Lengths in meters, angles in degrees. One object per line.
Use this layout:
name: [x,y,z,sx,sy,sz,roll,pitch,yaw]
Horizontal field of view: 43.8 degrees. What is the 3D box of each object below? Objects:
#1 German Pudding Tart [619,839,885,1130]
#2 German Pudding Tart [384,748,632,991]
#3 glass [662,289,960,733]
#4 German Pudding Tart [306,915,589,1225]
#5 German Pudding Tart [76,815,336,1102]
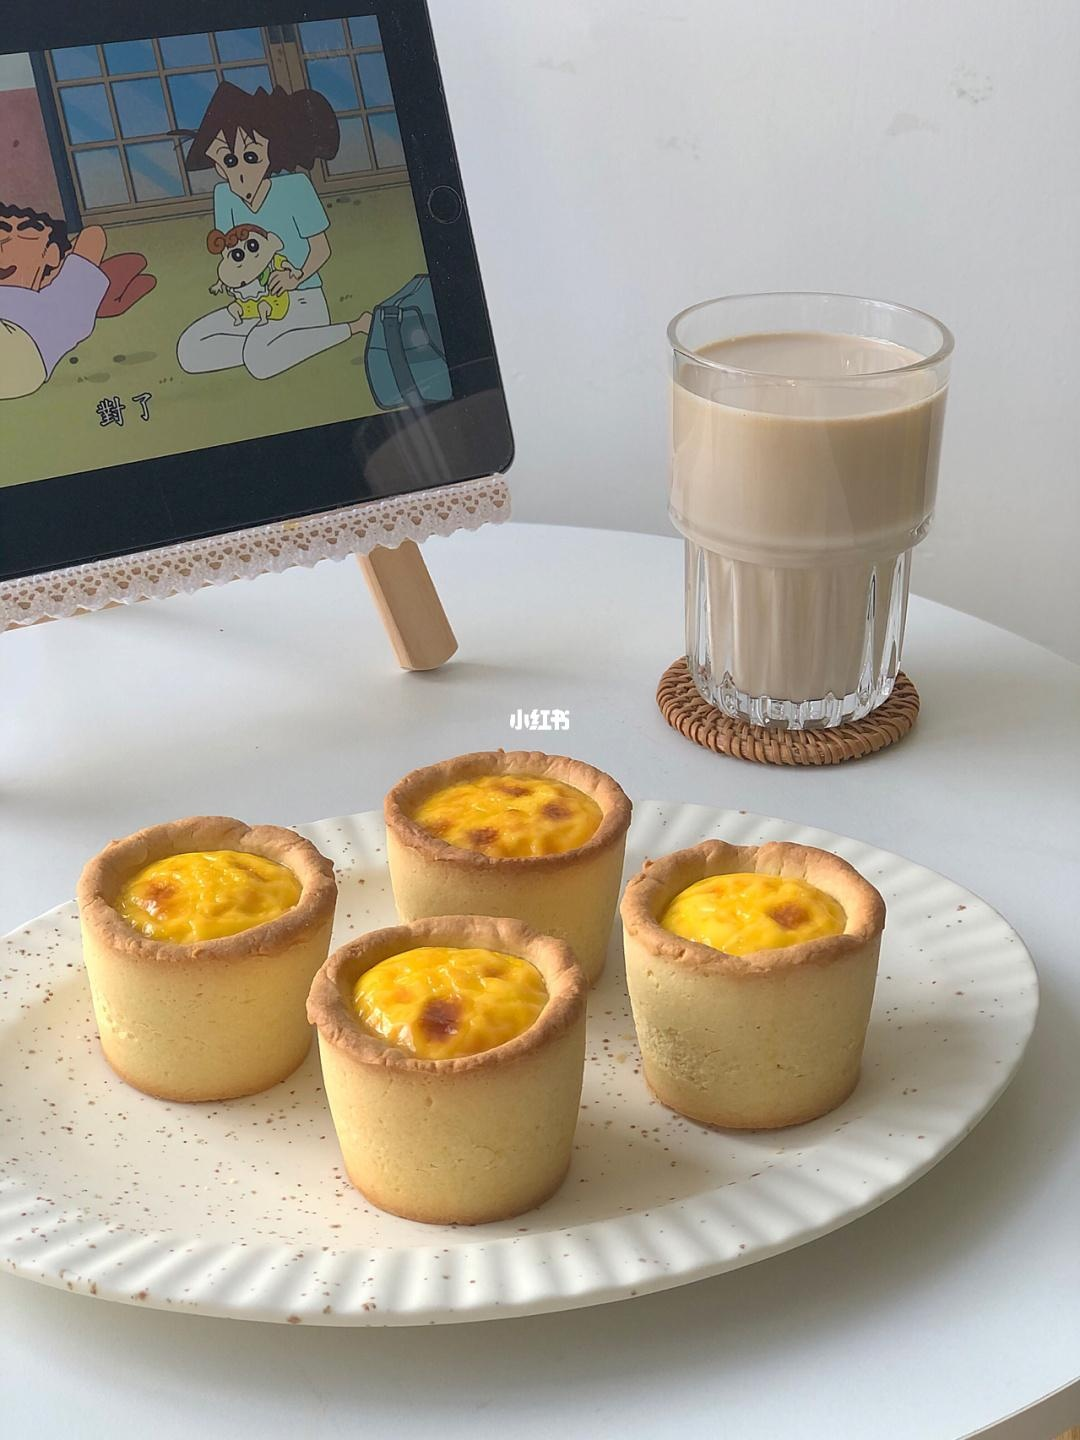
German Pudding Tart: [0.071,0.097,0.493,0.106,0.074,0.094,-7,30,-8]
German Pudding Tart: [-0.010,0.059,0.554,0.098,0.063,0.095,17,30,29]
glass: [0.164,-0.106,0.795,0.168,0.203,0.155,-11,26,-27]
German Pudding Tart: [-0.027,0.109,0.432,0.090,0.060,0.089,14,24,32]
German Pudding Tart: [-0.122,0.082,0.497,0.098,0.060,0.086,6,29,6]
